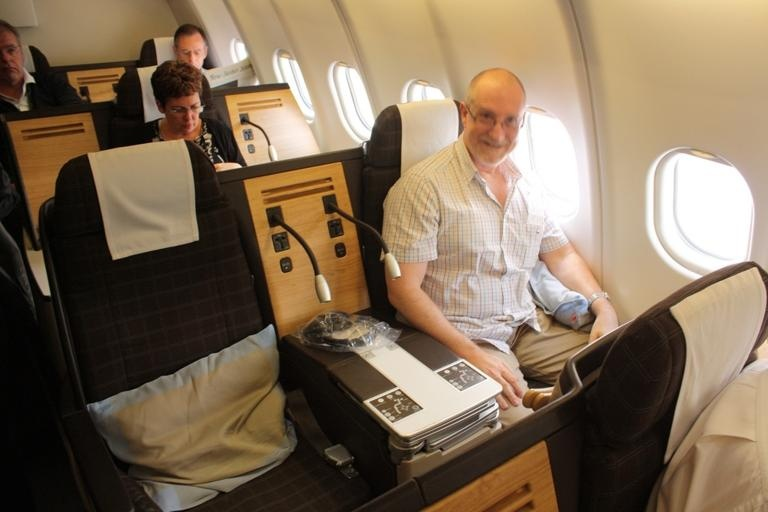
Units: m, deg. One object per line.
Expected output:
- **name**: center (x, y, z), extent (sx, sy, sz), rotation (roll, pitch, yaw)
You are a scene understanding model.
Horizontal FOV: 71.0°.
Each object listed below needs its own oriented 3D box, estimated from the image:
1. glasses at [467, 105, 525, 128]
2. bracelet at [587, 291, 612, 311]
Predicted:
- **glasses**: center (0.491, -0.605, 2.402), extent (0.125, 0.054, 0.152), rotation (15, 4, 21)
- **bracelet**: center (1.039, 0.205, 2.615), extent (0.074, 0.100, 0.039), rotation (4, 52, -7)
